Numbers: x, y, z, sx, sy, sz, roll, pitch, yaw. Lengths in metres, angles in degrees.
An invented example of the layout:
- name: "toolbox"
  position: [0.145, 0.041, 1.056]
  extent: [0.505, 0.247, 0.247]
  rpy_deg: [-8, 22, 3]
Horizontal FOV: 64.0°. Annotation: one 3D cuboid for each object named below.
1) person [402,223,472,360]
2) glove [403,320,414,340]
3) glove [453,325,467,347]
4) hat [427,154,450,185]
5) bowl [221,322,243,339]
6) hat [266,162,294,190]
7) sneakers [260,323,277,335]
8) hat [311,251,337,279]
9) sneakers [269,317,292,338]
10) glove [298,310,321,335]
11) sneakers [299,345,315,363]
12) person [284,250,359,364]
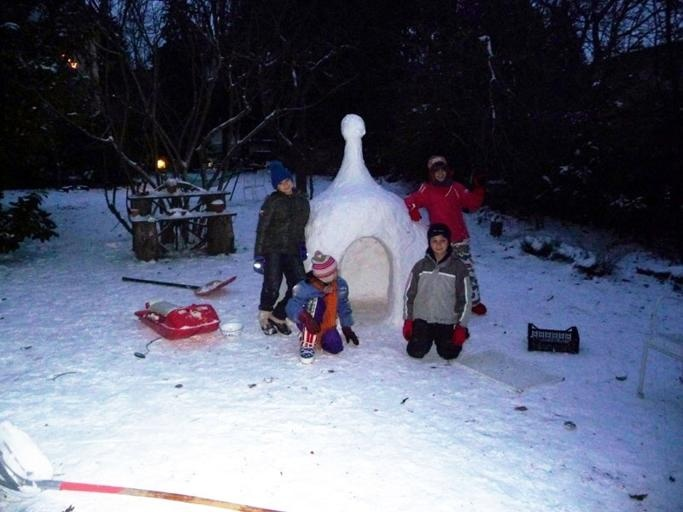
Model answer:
- name: "person"
  position: [1.001, 0.355, 5.696]
  extent: [0.678, 1.380, 0.407]
  rpy_deg: [3, 12, 14]
- name: "glove"
  position: [0.683, 0.764, 5.735]
  extent: [0.076, 0.187, 0.138]
  rpy_deg: [12, -10, -26]
- name: "glove"
  position: [1.204, 0.806, 5.606]
  extent: [0.116, 0.259, 0.165]
  rpy_deg: [6, 13, 24]
- name: "hat"
  position: [1.165, -1.010, 6.637]
  extent: [0.226, 0.341, 0.329]
  rpy_deg: [-3, 51, 3]
- name: "bowl"
  position: [-1.253, 0.823, 6.237]
  extent: [0.228, 0.113, 0.162]
  rpy_deg: [-2, 13, -11]
- name: "hat"
  position: [-0.721, -0.971, 6.382]
  extent: [0.228, 0.249, 0.319]
  rpy_deg: [-33, 26, -16]
- name: "sneakers"
  position: [-0.818, 0.820, 6.258]
  extent: [0.161, 0.118, 0.105]
  rpy_deg: [-1, 12, -9]
- name: "hat"
  position: [-0.195, 0.064, 5.725]
  extent: [0.234, 0.238, 0.241]
  rpy_deg: [-16, 26, -7]
- name: "sneakers"
  position: [-0.689, 0.792, 6.246]
  extent: [0.141, 0.114, 0.273]
  rpy_deg: [-15, 32, -42]
- name: "glove"
  position: [-0.329, 0.688, 5.655]
  extent: [0.206, 0.247, 0.198]
  rpy_deg: [0, 12, -2]
- name: "sneakers"
  position: [-0.351, 0.986, 5.576]
  extent: [0.162, 0.172, 0.391]
  rpy_deg: [1, -2, -5]
- name: "person"
  position: [-0.189, 0.510, 5.772]
  extent: [0.680, 1.072, 0.762]
  rpy_deg: [14, 19, 34]
